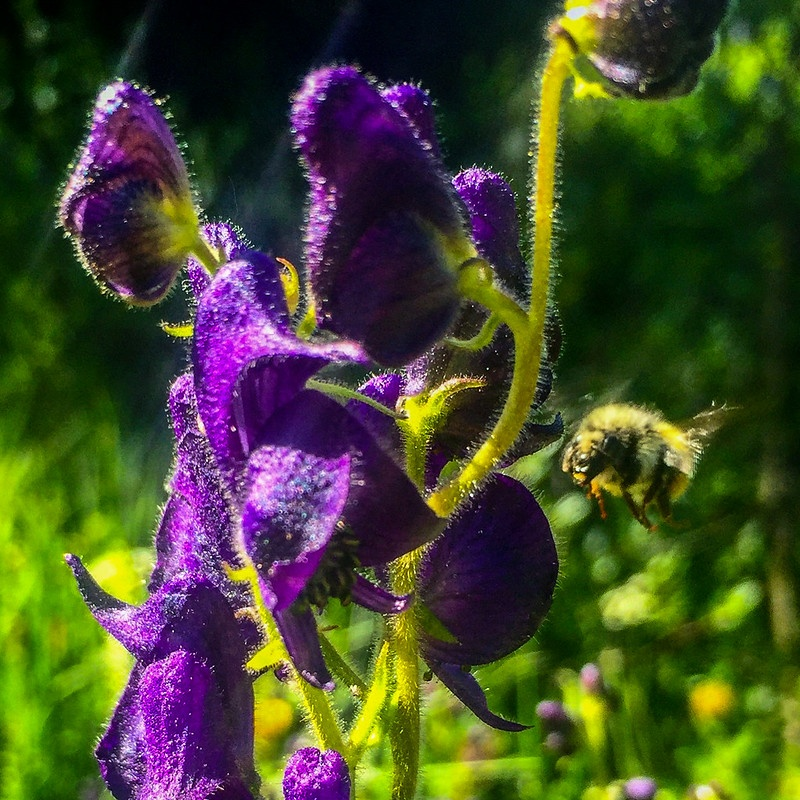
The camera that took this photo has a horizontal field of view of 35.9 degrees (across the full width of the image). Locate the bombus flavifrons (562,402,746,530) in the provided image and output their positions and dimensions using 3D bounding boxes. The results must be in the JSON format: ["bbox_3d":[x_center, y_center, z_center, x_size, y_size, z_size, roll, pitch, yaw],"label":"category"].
[{"bbox_3d":[0.447,0.098,2.169,0.328,0.255,0.182,-7,76,2],"label":"bombus flavifrons"}]

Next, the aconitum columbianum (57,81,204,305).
[{"bbox_3d":[-0.361,-0.259,1.553,0.077,0.194,0.274,5,78,37],"label":"aconitum columbianum"}]
